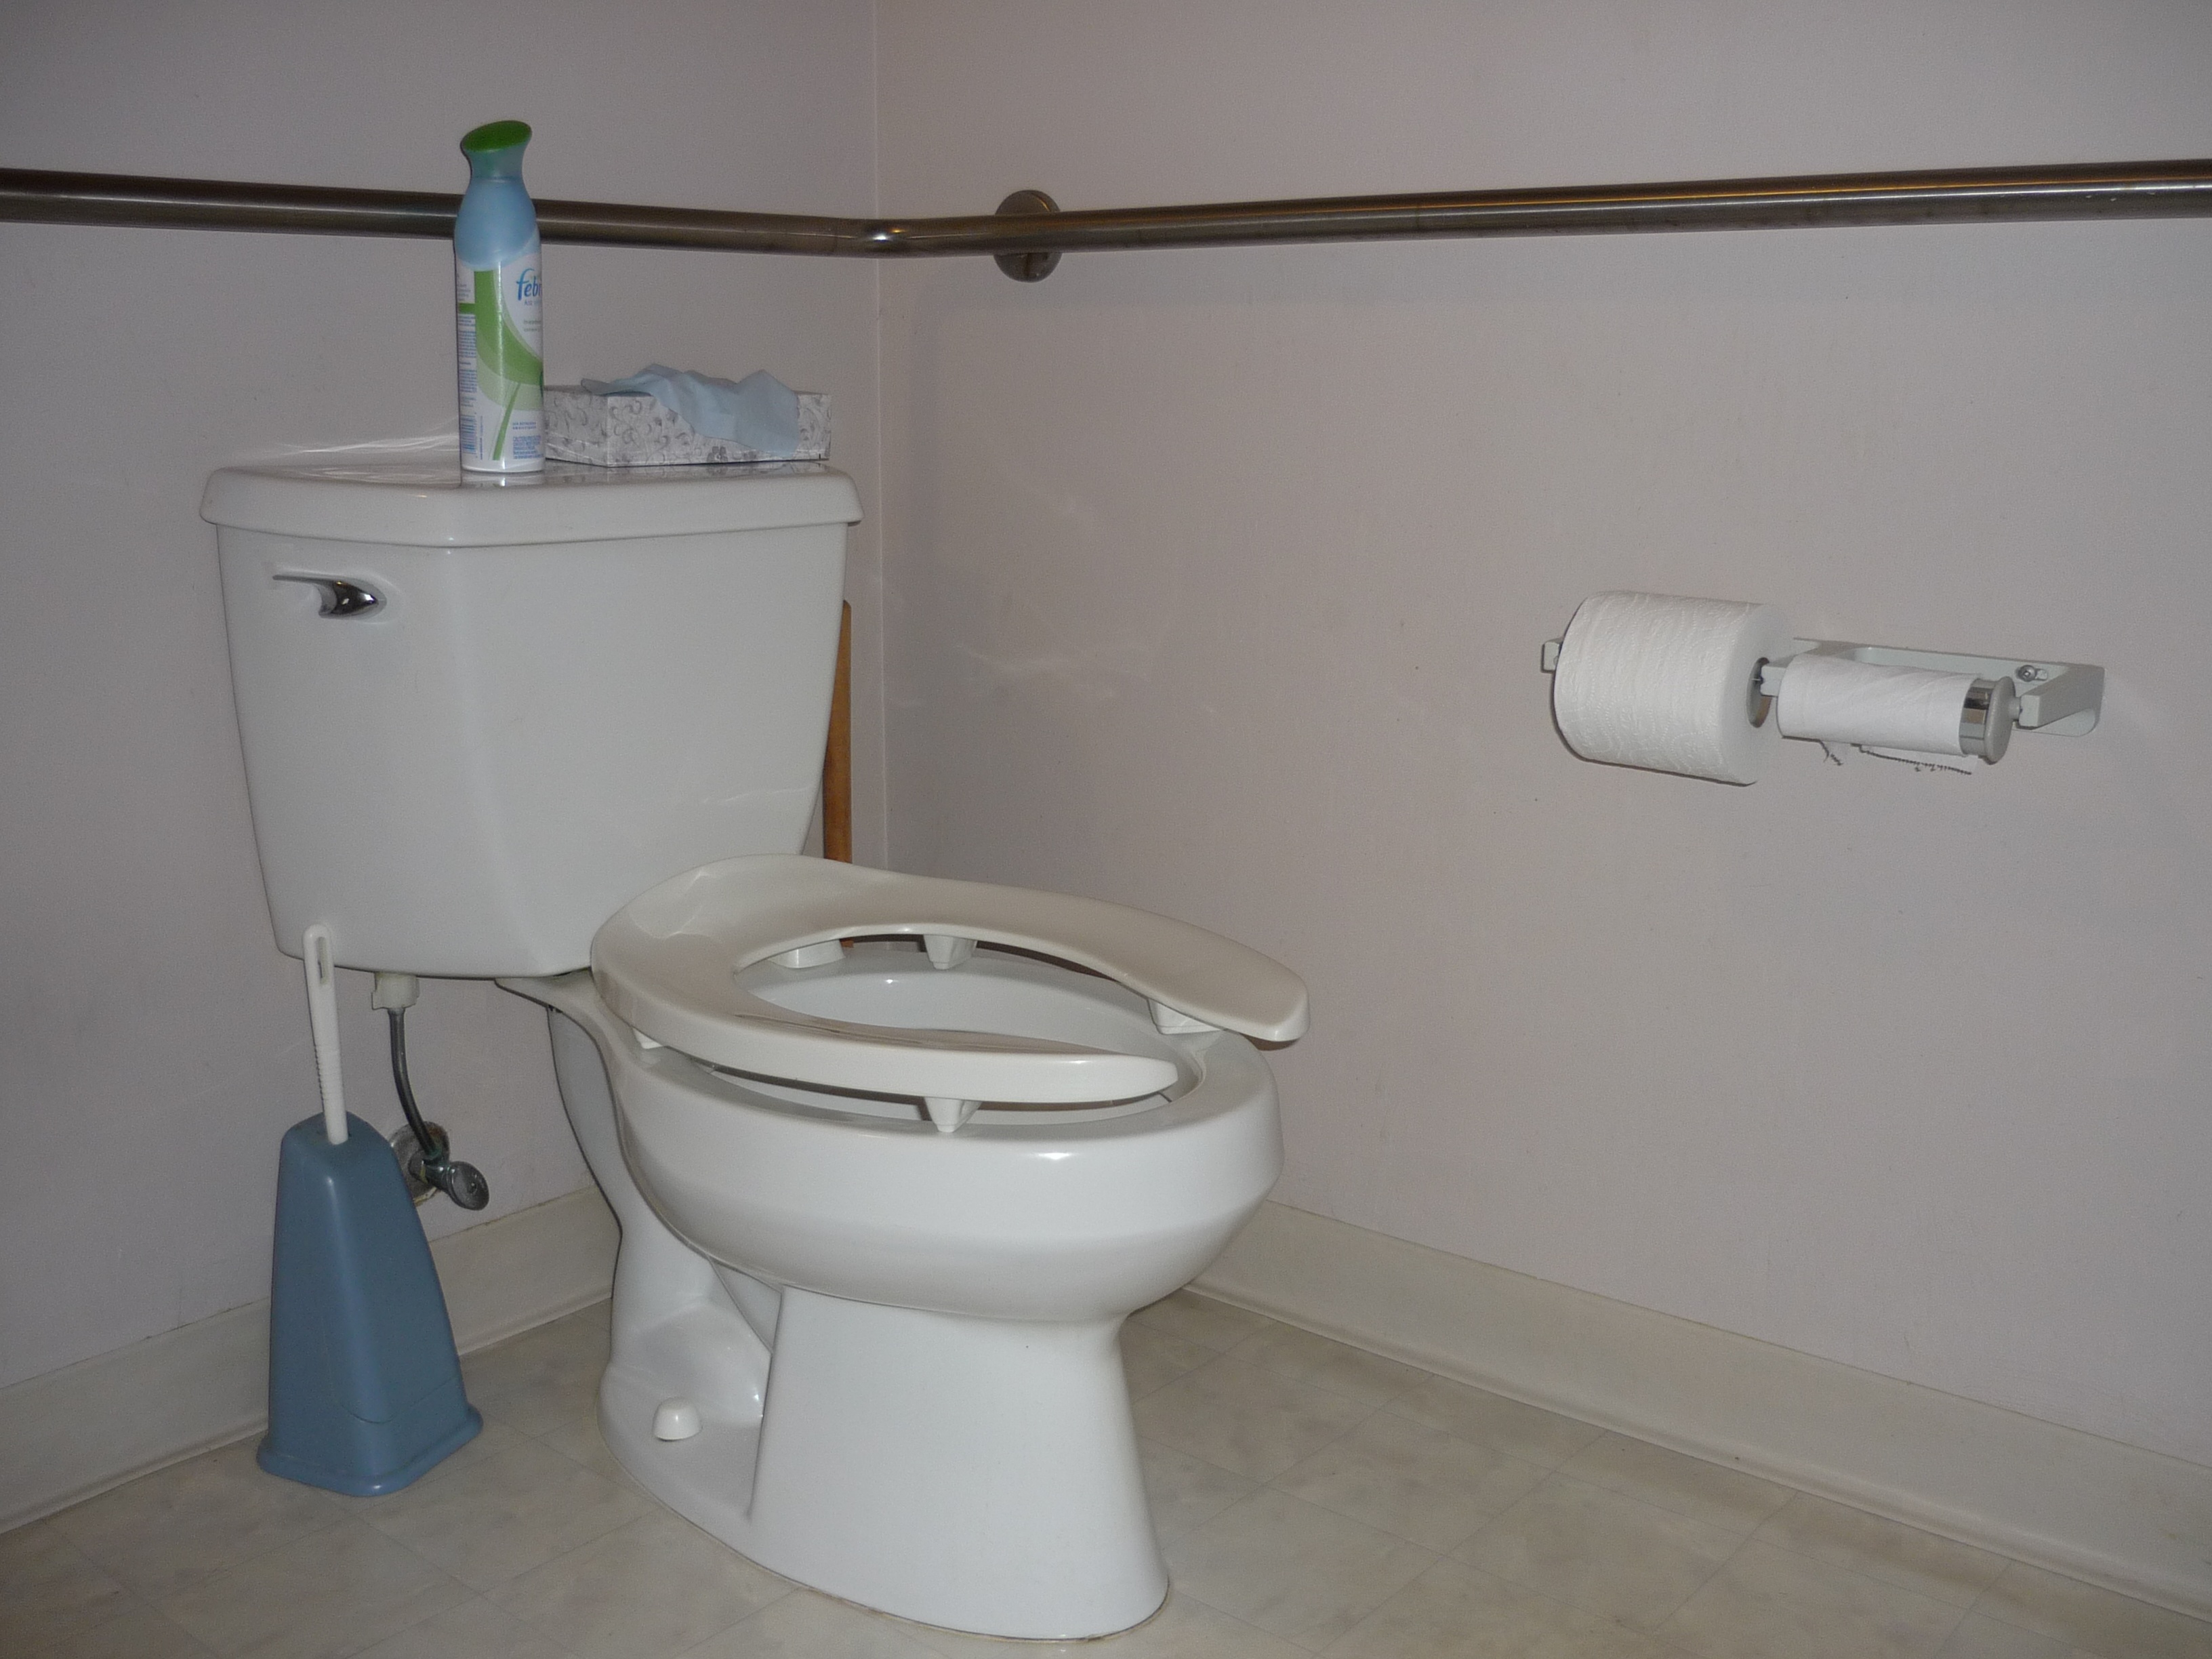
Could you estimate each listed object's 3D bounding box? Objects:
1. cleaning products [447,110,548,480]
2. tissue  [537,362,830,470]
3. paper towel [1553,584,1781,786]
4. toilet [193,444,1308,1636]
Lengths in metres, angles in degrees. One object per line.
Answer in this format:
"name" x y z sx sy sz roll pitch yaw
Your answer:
"cleaning products" -0.535 -0.460 1.590 0.081 0.295 0.126 -5 15 -19
"tissue " -0.392 -0.411 1.716 0.239 0.116 0.224 -11 21 -44
"paper towel" 0.473 -0.120 1.550 0.193 0.147 0.084 6 16 22
"toilet" -0.206 0.201 1.711 0.853 1.094 0.869 11 13 35
